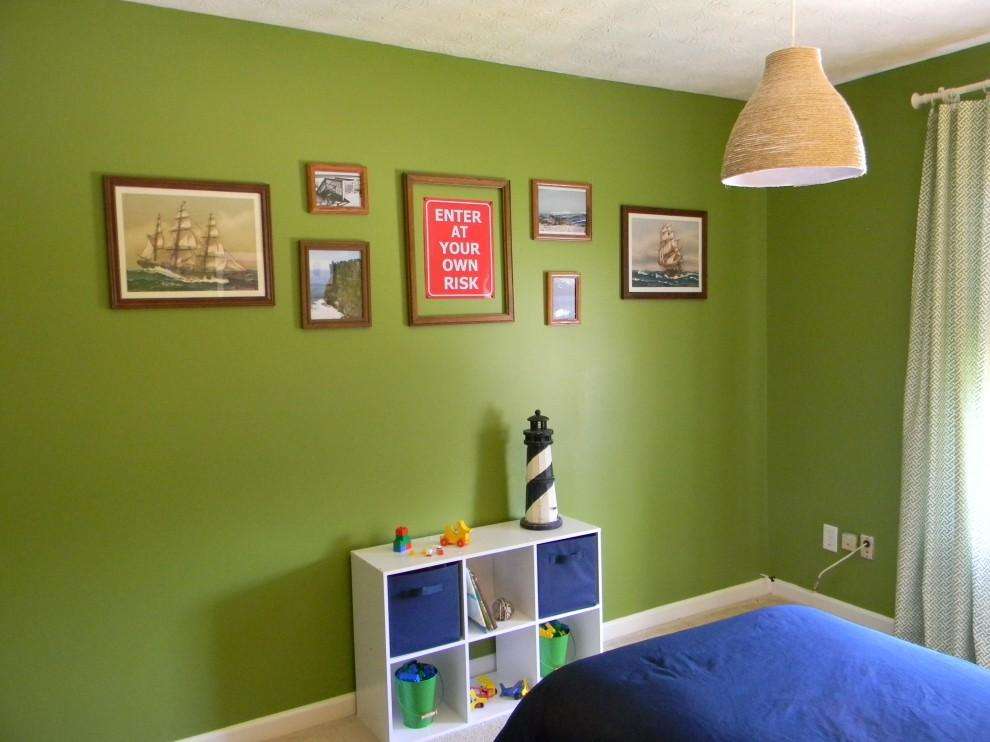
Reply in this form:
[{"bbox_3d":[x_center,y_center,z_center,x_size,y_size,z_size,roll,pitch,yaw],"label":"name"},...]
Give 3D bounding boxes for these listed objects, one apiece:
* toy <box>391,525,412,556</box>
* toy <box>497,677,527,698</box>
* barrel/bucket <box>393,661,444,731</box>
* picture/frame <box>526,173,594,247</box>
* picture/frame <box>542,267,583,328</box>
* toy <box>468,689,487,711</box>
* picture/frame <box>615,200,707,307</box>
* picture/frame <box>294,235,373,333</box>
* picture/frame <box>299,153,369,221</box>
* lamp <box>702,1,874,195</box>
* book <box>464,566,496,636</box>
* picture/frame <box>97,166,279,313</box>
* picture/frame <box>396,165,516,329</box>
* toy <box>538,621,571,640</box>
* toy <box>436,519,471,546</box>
[{"bbox_3d":[-0.431,0.765,3.637,0.082,0.100,0.119,-7,13,-16],"label":"toy"},{"bbox_3d":[0.069,1.504,3.781,0.100,0.072,0.074,-3,-1,6],"label":"toy"},{"bbox_3d":[-0.352,1.461,3.567,0.231,0.235,0.197,-1,-1,-23],"label":"barrel/bucket"},{"bbox_3d":[0.309,-0.830,4.104,0.382,0.331,0.028,-1,2,-27],"label":"picture/frame"},{"bbox_3d":[0.347,-0.374,4.146,0.200,0.265,0.029,-4,6,-28],"label":"picture/frame"},{"bbox_3d":[-0.091,1.528,3.701,0.064,0.027,0.065,11,3,-9],"label":"toy"},{"bbox_3d":[0.878,-0.653,4.387,0.564,0.489,0.023,-4,8,-25],"label":"picture/frame"},{"bbox_3d":[-0.753,-0.398,3.606,0.421,0.550,0.056,-2,3,-28],"label":"picture/frame"},{"bbox_3d":[-0.749,-0.832,3.601,0.303,0.269,0.034,-2,5,-27],"label":"picture/frame"},{"bbox_3d":[1.005,-0.873,2.709,0.454,0.432,0.289,0,13,15],"label":"lamp"},{"bbox_3d":[-0.091,1.057,3.670,0.056,0.252,0.237,-12,7,-21],"label":"book"},{"bbox_3d":[-1.325,-0.553,3.343,0.606,0.526,0.024,-4,9,-29],"label":"picture/frame"},{"bbox_3d":[-0.221,-0.607,3.856,0.777,1.064,0.109,-1,1,-28],"label":"picture/frame"},{"bbox_3d":[0.275,1.263,3.862,0.129,0.069,0.159,0,-7,-4],"label":"toy"},{"bbox_3d":[-0.197,0.760,3.746,0.131,0.107,0.088,0,3,10],"label":"toy"}]
